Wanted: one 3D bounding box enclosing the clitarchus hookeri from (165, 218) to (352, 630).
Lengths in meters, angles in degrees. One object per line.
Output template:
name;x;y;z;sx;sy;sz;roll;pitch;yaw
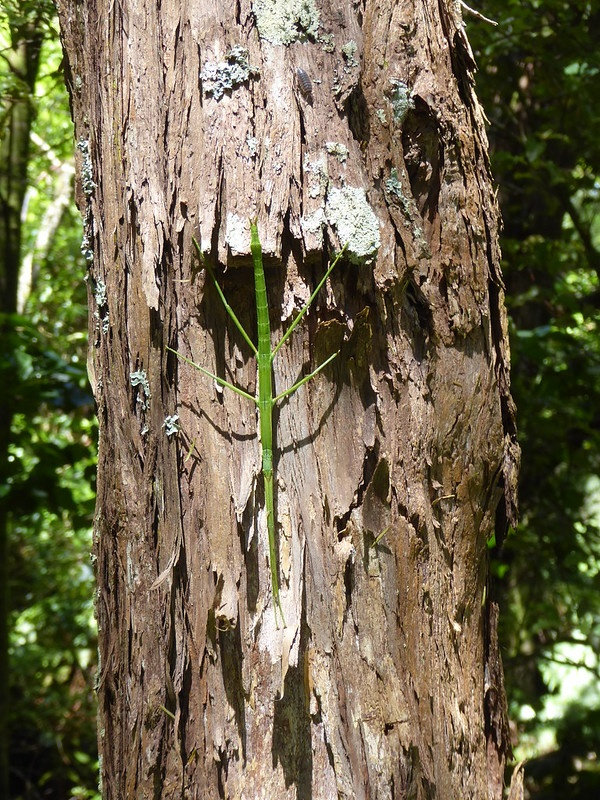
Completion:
clitarchus hookeri;-0.103;0.002;4.309;0.443;1.263;0.137;-3;1;1
